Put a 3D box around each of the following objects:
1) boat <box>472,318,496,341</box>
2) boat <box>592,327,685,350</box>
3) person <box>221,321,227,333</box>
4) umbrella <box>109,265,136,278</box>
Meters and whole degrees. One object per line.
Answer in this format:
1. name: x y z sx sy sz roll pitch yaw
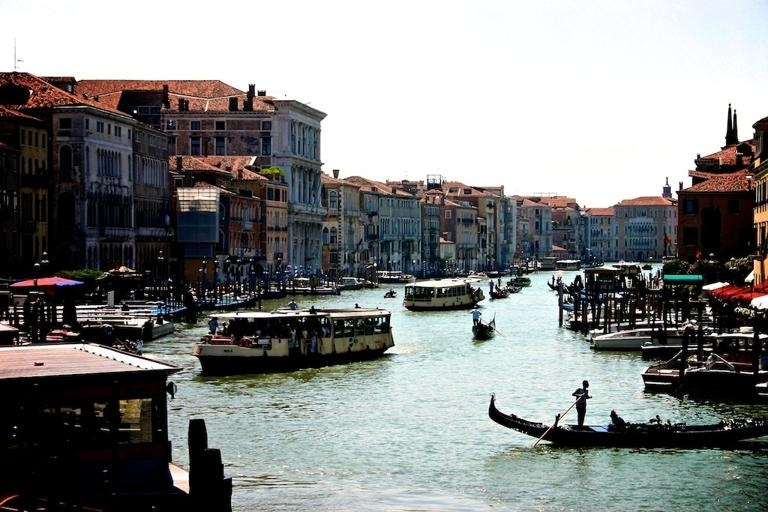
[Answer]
1. boat: 7.313 5.366 94.081 1.357 1.399 3.356 1 5 10
2. boat: 16.755 5.563 84.069 5.943 1.247 1.808 -1 3 -1
3. person: -9.860 4.361 78.611 0.228 0.701 0.285 2 -19 4
4. umbrella: -19.947 1.204 96.274 1.320 0.505 1.280 2 2 14
